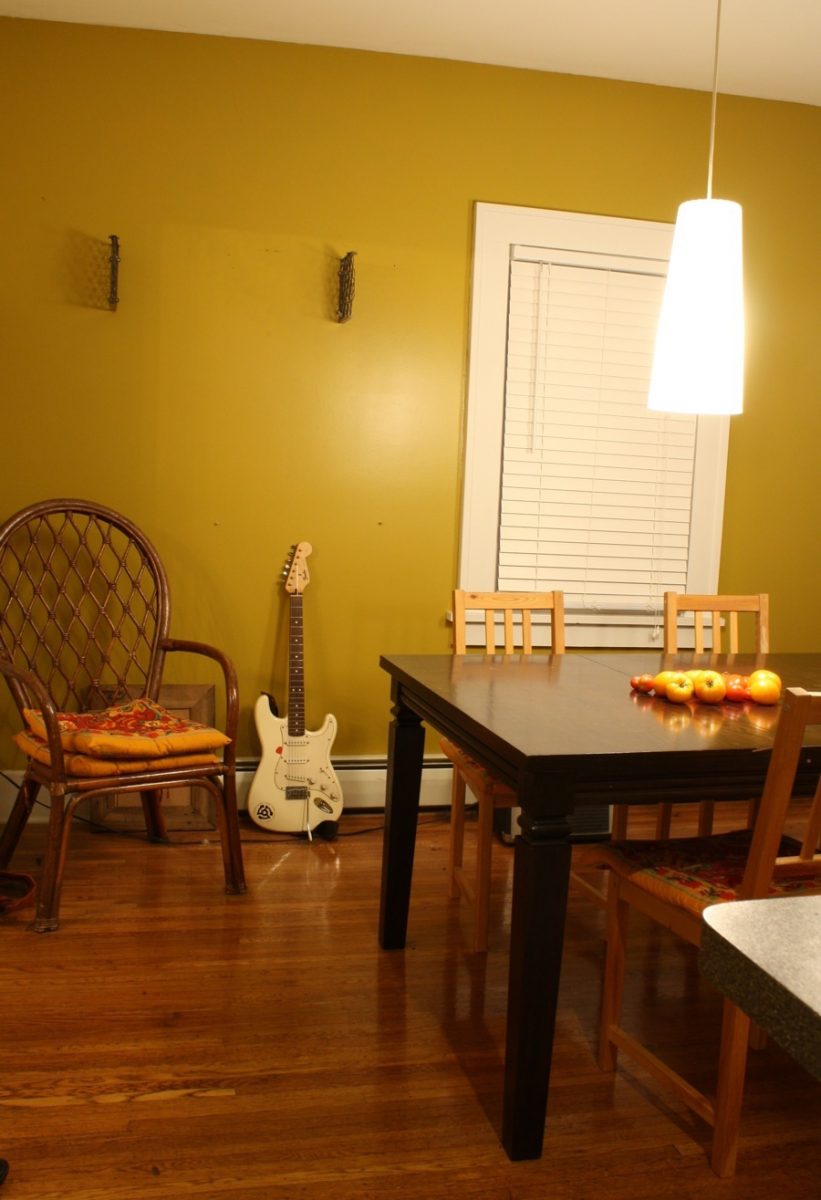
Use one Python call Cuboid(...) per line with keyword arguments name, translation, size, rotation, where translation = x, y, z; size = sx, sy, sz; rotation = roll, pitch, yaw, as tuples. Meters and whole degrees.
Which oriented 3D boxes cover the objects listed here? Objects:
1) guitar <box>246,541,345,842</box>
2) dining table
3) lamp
Cuboid(name="guitar", translation=(-0.373, 0.294, 3.183), size=(0.302, 0.965, 0.294), rotation=(2, 3, -2))
Cuboid(name="dining table", translation=(0.337, 0.340, 1.869), size=(0.939, 0.736, 0.730), rotation=(-1, 9, -17))
Cuboid(name="lamp", translation=(0.646, -0.639, 2.083), size=(0.210, 0.460, 0.137), rotation=(2, 3, 2))
